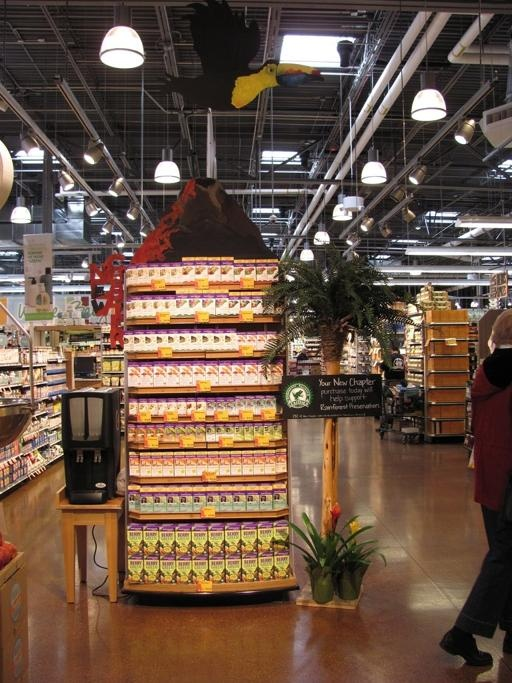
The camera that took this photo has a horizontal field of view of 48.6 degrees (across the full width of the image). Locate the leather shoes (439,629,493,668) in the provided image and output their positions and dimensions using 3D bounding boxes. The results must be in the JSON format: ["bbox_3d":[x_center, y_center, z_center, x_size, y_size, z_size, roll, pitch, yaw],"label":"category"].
[{"bbox_3d":[1.022,1.473,2.772,0.235,0.144,0.176,-1,-1,22],"label":"leather shoes"}]

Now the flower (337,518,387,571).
[{"bbox_3d":[0.622,1.334,3.626,0.359,0.304,0.375,5,-18,9],"label":"flower"}]

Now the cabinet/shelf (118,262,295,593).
[{"bbox_3d":[-0.326,0.488,3.789,1.098,2.143,0.622,-1,-1,-8],"label":"cabinet/shelf"}]

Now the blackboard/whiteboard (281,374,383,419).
[{"bbox_3d":[0.472,0.332,3.593,0.649,0.281,0.064,-1,3,-7],"label":"blackboard/whiteboard"}]

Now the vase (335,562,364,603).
[{"bbox_3d":[0.586,1.492,3.554,0.163,0.233,0.139,0,-1,-26],"label":"vase"}]

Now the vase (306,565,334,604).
[{"bbox_3d":[0.382,1.485,3.537,0.220,0.203,0.205,1,-12,-6],"label":"vase"}]

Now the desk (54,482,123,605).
[{"bbox_3d":[-1.005,1.341,3.824,0.612,0.726,0.578,-3,-4,-17],"label":"desk"}]
